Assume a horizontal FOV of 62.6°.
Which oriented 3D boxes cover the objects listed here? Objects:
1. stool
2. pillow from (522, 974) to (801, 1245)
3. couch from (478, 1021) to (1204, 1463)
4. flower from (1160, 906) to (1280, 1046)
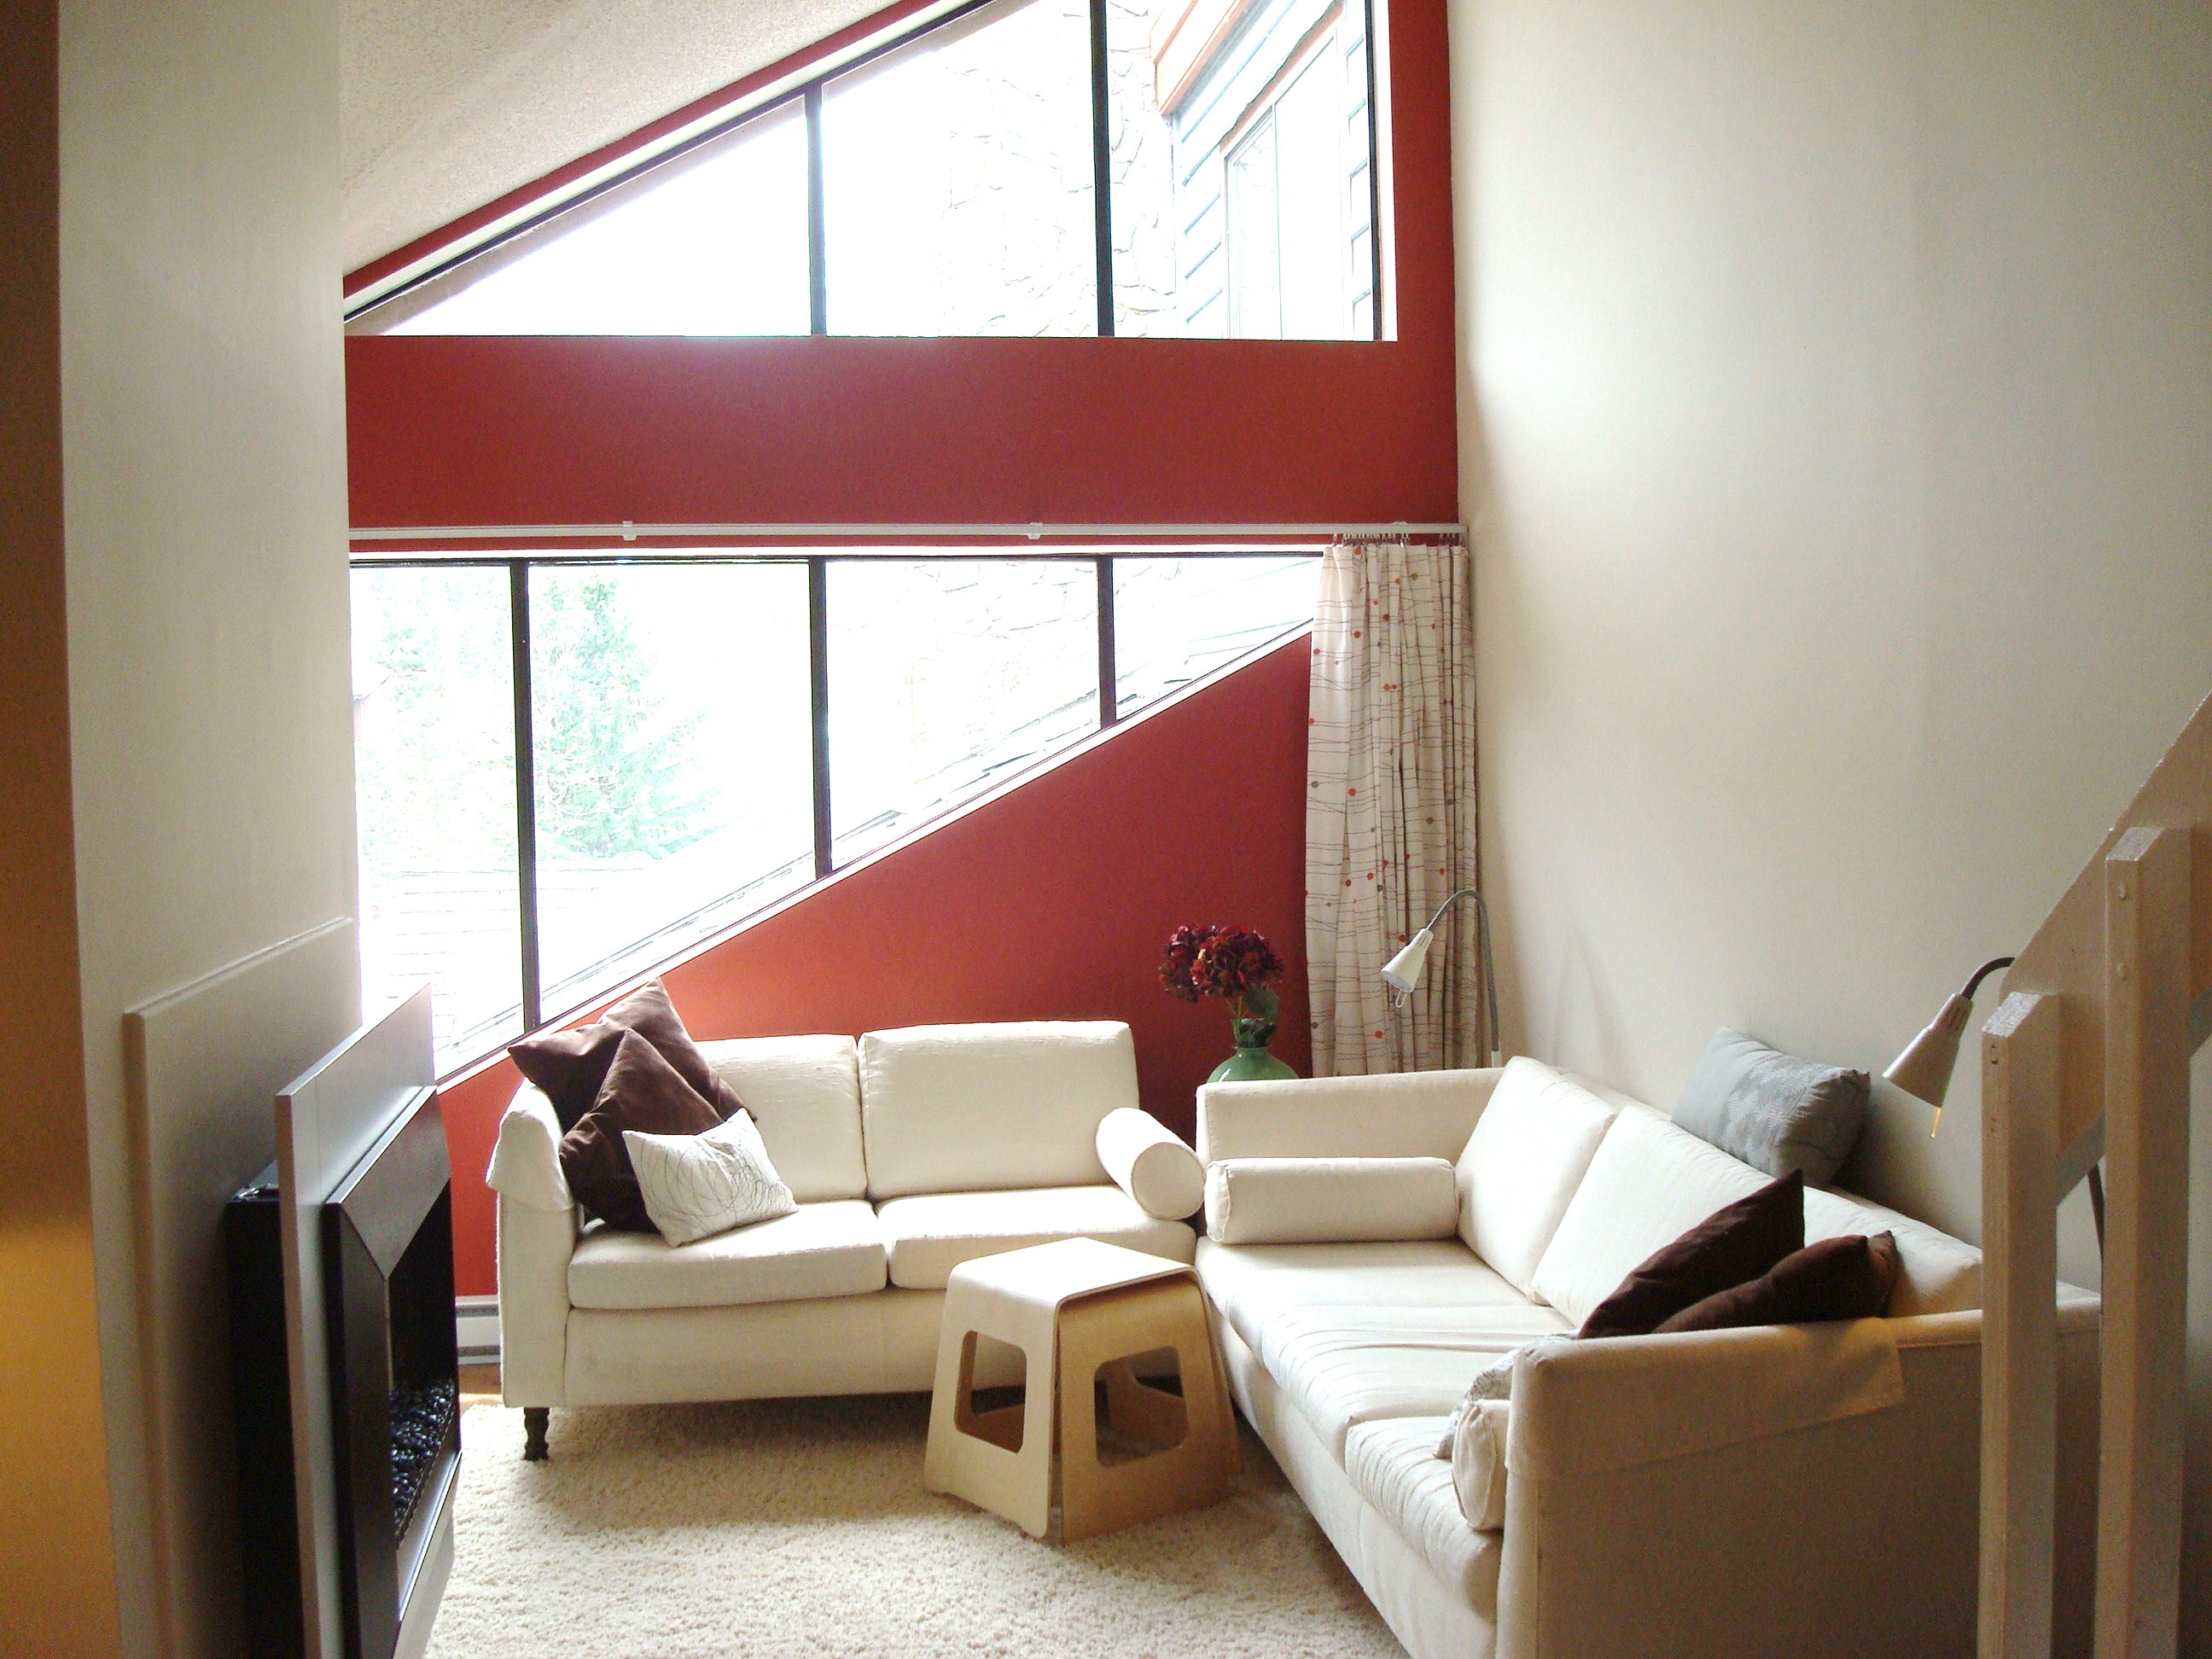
[{"bbox_3d":[-0.074,1.376,4.474,0.731,0.548,0.779,1,-4,4],"label":"stool"},{"bbox_3d":[-1.159,0.797,4.928,0.185,0.642,0.586,-34,-14,22],"label":"pillow"},{"bbox_3d":[-0.702,1.119,5.163,1.875,1.041,0.924,0,-2,-12],"label":"couch"},{"bbox_3d":[0.378,0.380,5.511,0.306,0.275,0.241,4,10,-7],"label":"flower"}]
